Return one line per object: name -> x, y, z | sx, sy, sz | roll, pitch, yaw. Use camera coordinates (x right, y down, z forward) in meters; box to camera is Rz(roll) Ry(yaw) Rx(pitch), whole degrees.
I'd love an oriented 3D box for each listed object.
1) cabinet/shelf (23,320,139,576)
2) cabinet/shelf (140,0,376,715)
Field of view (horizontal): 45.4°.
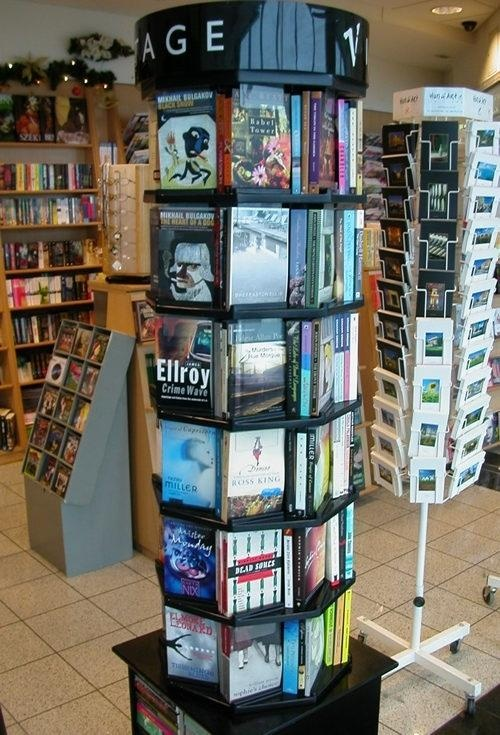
cabinet/shelf -> -1.056, 0.460, 3.641 | 0.626, 1.412, 0.672 | -15, 19, -36
cabinet/shelf -> 0.046, 0.072, 1.656 | 0.726, 1.950, 0.413 | -13, 17, -29
